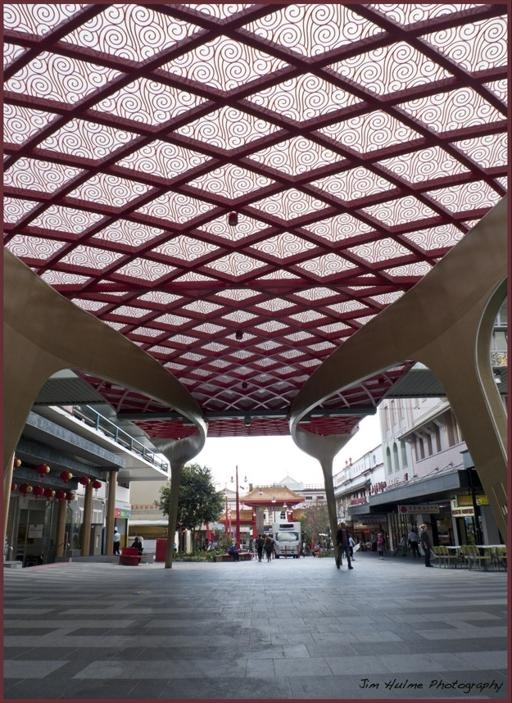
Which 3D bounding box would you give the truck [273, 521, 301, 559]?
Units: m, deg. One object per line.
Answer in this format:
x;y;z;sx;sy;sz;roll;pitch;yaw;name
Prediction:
3.352;20.495;51.086;2.433;2.461;4.334;0;-32;1;truck
